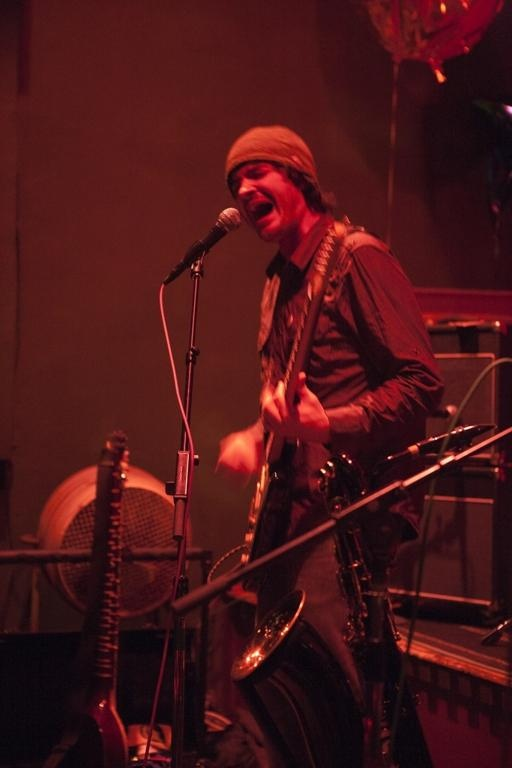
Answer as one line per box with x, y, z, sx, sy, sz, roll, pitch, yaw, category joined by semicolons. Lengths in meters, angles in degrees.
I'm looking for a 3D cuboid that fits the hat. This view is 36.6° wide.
0.078;-0.640;2.137;0.224;0.219;0.168;7;-72;18;hat
